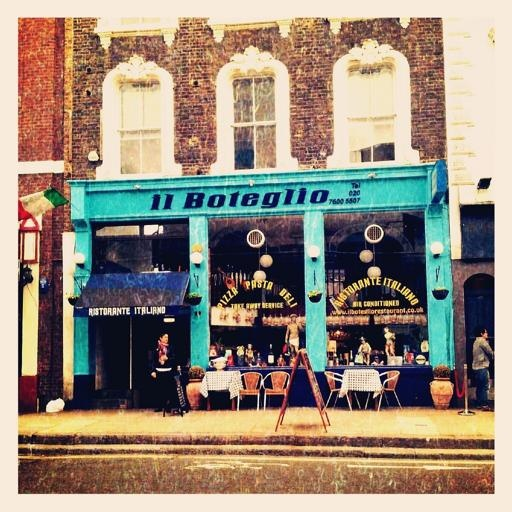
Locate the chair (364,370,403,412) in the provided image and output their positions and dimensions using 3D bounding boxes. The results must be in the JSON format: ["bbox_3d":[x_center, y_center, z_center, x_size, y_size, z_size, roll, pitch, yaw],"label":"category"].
[{"bbox_3d":[2.944,3.026,32.587,0.699,1.298,0.833,2,-8,-16],"label":"chair"}]

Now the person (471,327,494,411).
[{"bbox_3d":[5.195,2.480,32.254,0.431,1.891,0.467,-3,2,11],"label":"person"}]

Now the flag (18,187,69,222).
[{"bbox_3d":[-4.966,-1.215,32.644,1.069,0.766,0.570,0,0,-12],"label":"flag"}]

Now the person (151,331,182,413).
[{"bbox_3d":[-2.020,2.676,32.354,0.726,1.821,0.799,0,0,2],"label":"person"}]

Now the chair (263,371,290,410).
[{"bbox_3d":[0.444,3.048,32.225,0.540,1.030,0.657,3,-6,-3],"label":"chair"}]

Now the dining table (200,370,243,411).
[{"bbox_3d":[-0.820,3.029,32.494,0.956,0.882,0.799,0,0,-1],"label":"dining table"}]

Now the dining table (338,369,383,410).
[{"bbox_3d":[2.363,2.878,32.085,0.777,0.868,0.925,1,-18,7],"label":"dining table"}]

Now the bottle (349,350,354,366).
[{"bbox_3d":[2.189,2.333,33.088,0.130,0.353,0.194,0,0,4],"label":"bottle"}]

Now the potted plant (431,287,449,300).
[{"bbox_3d":[4.217,0.842,32.678,0.234,0.204,0.274,2,-4,7],"label":"potted plant"}]

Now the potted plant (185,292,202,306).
[{"bbox_3d":[-1.489,0.994,33.348,0.366,0.293,0.281,0,0,-3],"label":"potted plant"}]

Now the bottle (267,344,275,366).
[{"bbox_3d":[0.323,2.282,33.316,0.177,0.497,0.161,0,0,0],"label":"bottle"}]

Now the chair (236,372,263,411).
[{"bbox_3d":[-0.159,3.064,32.339,0.556,0.980,0.656,-1,-7,26],"label":"chair"}]

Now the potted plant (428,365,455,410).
[{"bbox_3d":[4.120,2.927,32.265,0.637,1.423,0.796,-1,-5,15],"label":"potted plant"}]

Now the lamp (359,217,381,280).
[{"bbox_3d":[2.693,-0.120,33.395,0.579,1.345,0.263,0,0,7],"label":"lamp"}]
